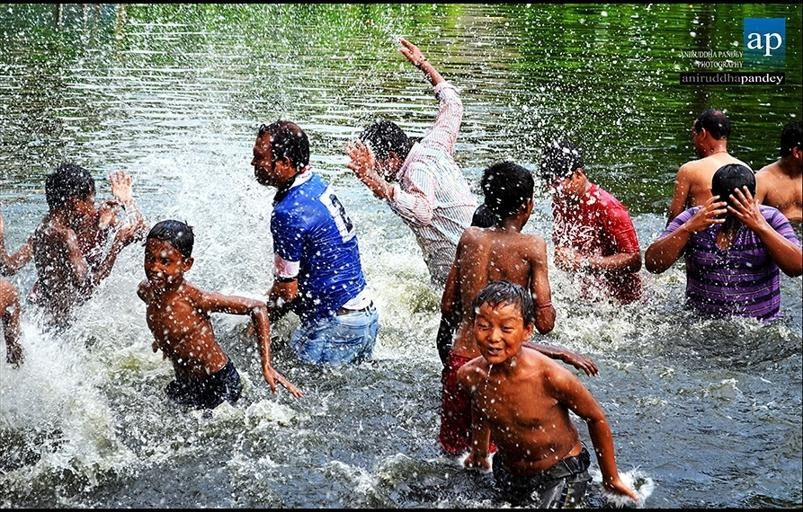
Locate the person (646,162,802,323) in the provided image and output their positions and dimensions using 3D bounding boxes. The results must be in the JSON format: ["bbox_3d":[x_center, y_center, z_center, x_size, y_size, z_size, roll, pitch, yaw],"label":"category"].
[{"bbox_3d":[3.813,-0.152,11.489,1.598,1.852,0.573,2,11,14],"label":"person"}]

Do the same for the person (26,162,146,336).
[{"bbox_3d":[-3.771,-0.134,11.582,1.218,1.852,0.559,-5,12,-21],"label":"person"}]

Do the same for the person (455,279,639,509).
[{"bbox_3d":[1.292,1.363,9.702,1.511,2.223,0.547,0,11,6],"label":"person"}]
